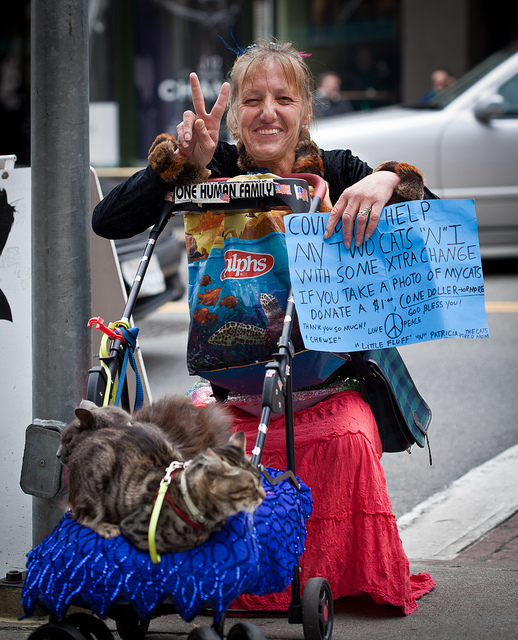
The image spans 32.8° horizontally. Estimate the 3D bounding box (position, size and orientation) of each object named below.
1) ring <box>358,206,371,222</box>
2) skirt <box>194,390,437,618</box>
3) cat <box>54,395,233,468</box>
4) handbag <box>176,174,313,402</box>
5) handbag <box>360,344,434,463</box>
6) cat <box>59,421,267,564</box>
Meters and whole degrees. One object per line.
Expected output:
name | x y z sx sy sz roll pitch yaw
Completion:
ring | 0.307 -0.306 2.530 0.009 0.031 0.033 41 -26 -29
skirt | 0.196 0.589 2.927 0.711 0.577 0.422 -6 -14 12
cat | -0.277 0.300 2.224 0.494 0.201 0.233 -3 -2 -35
handbag | -0.062 -0.079 2.744 0.364 0.732 0.619 -6 6 -33
handbag | 0.456 0.256 3.033 0.206 0.336 0.378 -12 13 17
cat | -0.234 0.402 2.044 0.609 0.278 0.239 6 3 41
